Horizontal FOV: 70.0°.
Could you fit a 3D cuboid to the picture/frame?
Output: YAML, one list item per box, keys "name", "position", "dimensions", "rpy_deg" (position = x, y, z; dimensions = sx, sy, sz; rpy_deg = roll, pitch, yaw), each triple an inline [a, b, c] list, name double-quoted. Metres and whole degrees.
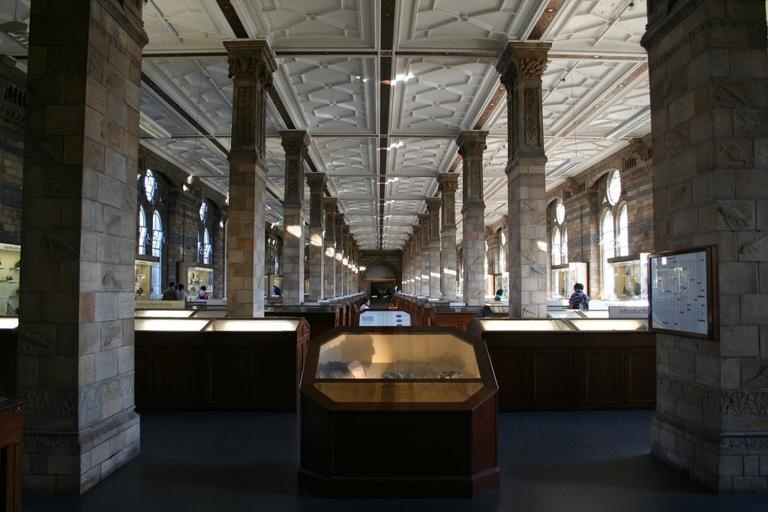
- name: "picture/frame"
  position: [4.116, 0.518, 7.798]
  dimensions: [1.338, 1.249, 0.121]
  rpy_deg: [1, -3, -24]

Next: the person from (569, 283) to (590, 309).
- name: "person"
  position: [5.313, 1.105, 14.915]
  dimensions: [0.472, 0.729, 1.316]
  rpy_deg: [2, 7, 21]
